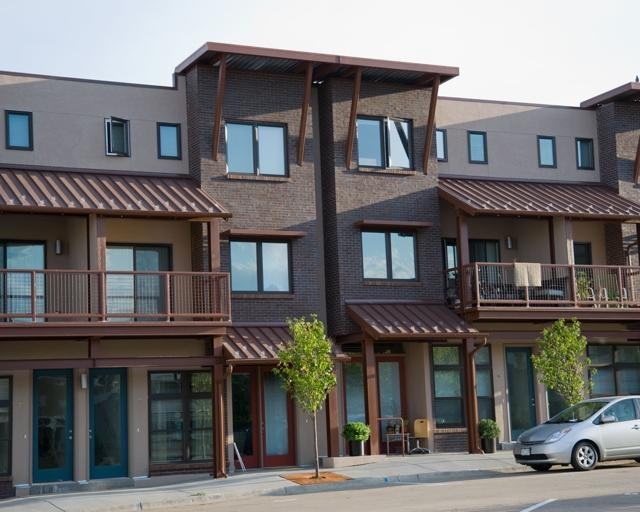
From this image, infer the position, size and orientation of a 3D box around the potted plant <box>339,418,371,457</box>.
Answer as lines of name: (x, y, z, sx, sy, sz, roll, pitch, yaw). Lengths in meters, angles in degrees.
potted plant: (1.159, 5.567, 28.323, 1.105, 1.058, 1.012, -1, -10, 6)

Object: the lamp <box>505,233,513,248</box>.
lamp: (6.772, -0.561, 33.057, 0.274, 0.504, 0.121, 2, -12, -35)

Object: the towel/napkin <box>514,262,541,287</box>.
towel/napkin: (6.746, 0.578, 30.052, 0.813, 0.578, 0.136, 4, -14, -23)

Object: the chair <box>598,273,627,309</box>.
chair: (10.015, 1.185, 31.624, 1.163, 1.259, 0.754, 1, -13, 15)

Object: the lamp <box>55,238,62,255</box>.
lamp: (-7.998, -0.314, 28.111, 0.158, 0.441, 0.207, -12, -12, 32)

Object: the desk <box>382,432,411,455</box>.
desk: (2.519, 6.165, 30.135, 0.969, 0.828, 0.729, 1, -10, -6)

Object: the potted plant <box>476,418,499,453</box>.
potted plant: (5.348, 5.746, 29.689, 0.786, 0.943, 0.788, 2, -25, -16)

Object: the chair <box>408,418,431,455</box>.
chair: (3.226, 5.805, 29.719, 0.870, 1.297, 0.830, -7, -15, 36)
